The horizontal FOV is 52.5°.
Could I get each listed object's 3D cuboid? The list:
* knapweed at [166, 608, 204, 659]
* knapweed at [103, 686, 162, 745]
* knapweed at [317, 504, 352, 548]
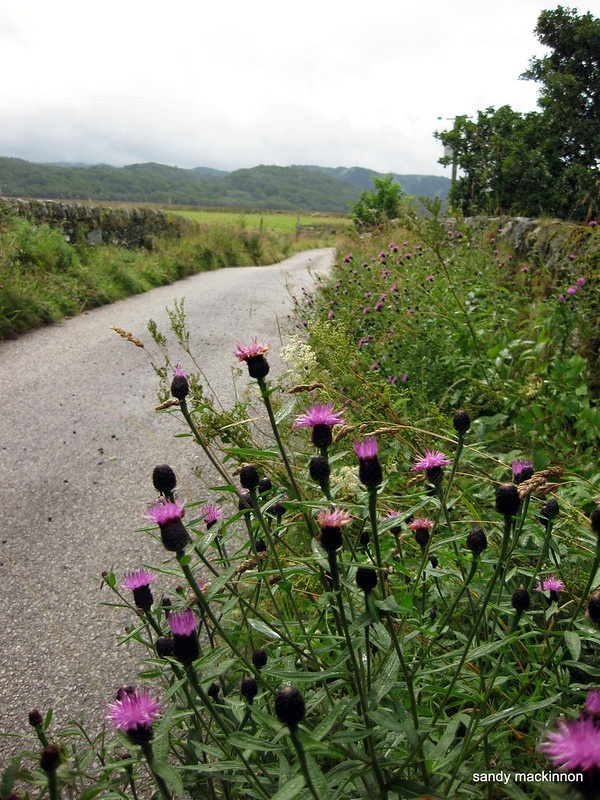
[{"bbox_3d":[-0.232,0.502,1.274,0.083,0.128,0.075,3,-18,-14],"label":"knapweed"},{"bbox_3d":[-0.342,0.654,1.264,0.095,0.080,0.122,0,19,-6],"label":"knapweed"},{"bbox_3d":[0.070,0.275,1.336,0.093,0.092,0.090,8,64,6],"label":"knapweed"}]
